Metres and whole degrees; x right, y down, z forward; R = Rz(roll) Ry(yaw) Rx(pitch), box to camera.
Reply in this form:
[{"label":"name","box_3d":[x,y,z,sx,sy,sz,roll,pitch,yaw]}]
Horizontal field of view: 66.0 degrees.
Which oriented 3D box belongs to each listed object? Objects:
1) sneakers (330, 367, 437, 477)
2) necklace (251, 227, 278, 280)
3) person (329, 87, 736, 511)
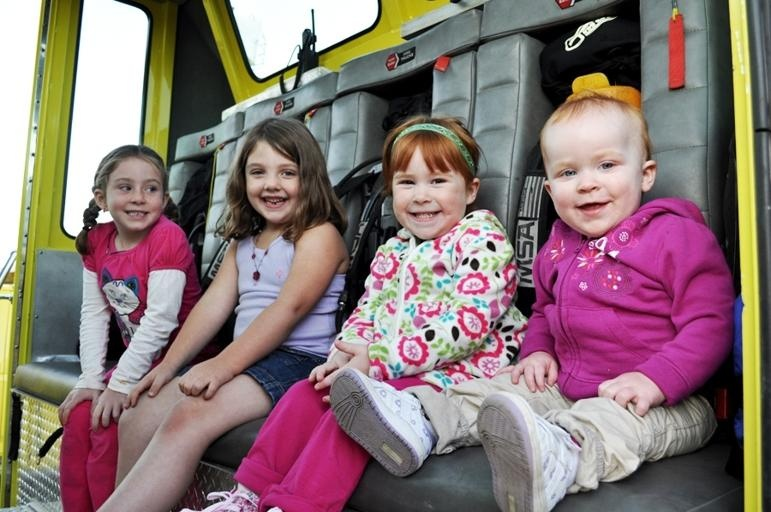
[{"label":"sneakers","box_3d":[-0.008,0.418,1.443,0.207,0.090,0.139,46,23,14]},{"label":"necklace","box_3d":[-0.400,-0.007,2.117,0.133,0.107,0.185,6,-9,-9]},{"label":"person","box_3d":[0.424,0.062,1.841,1.086,1.228,0.792,1,2,-31]}]
